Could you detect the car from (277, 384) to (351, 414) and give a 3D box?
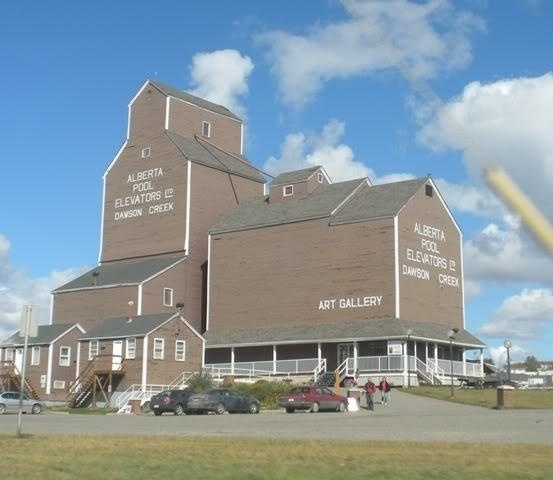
[{"bbox_3d":[1.937,8.258,41.148,3.008,1.334,1.097,10,-20,-33],"label":"car"}]

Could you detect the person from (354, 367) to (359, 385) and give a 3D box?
[{"bbox_3d":[5.301,8.964,52.278,0.268,1.206,1.035,-6,-18,14],"label":"person"}]

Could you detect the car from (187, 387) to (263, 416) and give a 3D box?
[{"bbox_3d":[-2.693,8.413,41.398,3.578,0.908,1.585,3,-6,-36],"label":"car"}]

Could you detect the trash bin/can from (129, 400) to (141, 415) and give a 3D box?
[{"bbox_3d":[-8.201,9.552,45.717,0.552,0.733,1.029,4,-17,-17],"label":"trash bin/can"}]

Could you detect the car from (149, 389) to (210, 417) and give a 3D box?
[{"bbox_3d":[-5.654,8.383,41.064,1.172,0.749,2.403,-4,-4,37],"label":"car"}]
